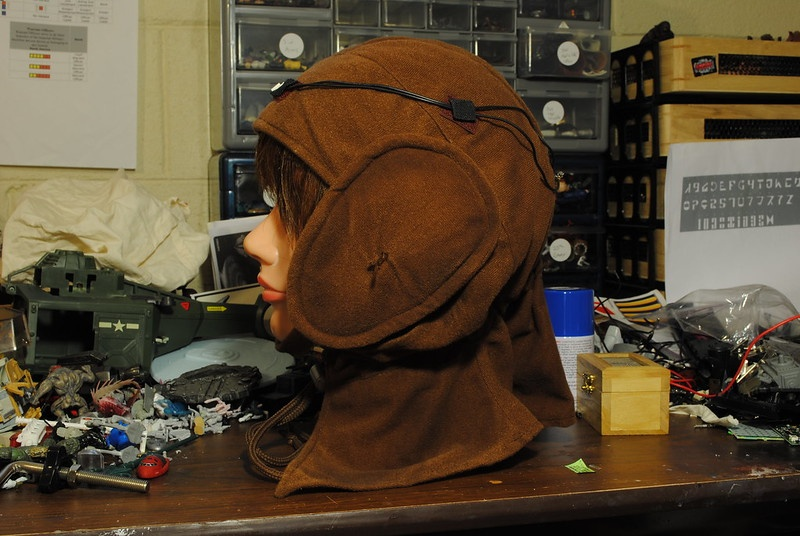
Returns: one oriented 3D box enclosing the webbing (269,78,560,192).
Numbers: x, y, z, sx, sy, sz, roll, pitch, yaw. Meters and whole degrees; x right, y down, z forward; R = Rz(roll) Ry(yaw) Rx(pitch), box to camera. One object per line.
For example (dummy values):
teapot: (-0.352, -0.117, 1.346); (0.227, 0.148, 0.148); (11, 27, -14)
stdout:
webbing: (0.046, -0.262, 1.397); (0.531, 0.172, 0.062); (9, 17, -5)

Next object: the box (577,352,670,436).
box: (0.408, 0.238, 1.566); (0.129, 0.108, 0.173); (1, 2, 0)

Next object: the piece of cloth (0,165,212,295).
piece of cloth: (-0.674, -0.085, 1.970); (0.392, 0.123, 0.297); (6, 30, -15)
